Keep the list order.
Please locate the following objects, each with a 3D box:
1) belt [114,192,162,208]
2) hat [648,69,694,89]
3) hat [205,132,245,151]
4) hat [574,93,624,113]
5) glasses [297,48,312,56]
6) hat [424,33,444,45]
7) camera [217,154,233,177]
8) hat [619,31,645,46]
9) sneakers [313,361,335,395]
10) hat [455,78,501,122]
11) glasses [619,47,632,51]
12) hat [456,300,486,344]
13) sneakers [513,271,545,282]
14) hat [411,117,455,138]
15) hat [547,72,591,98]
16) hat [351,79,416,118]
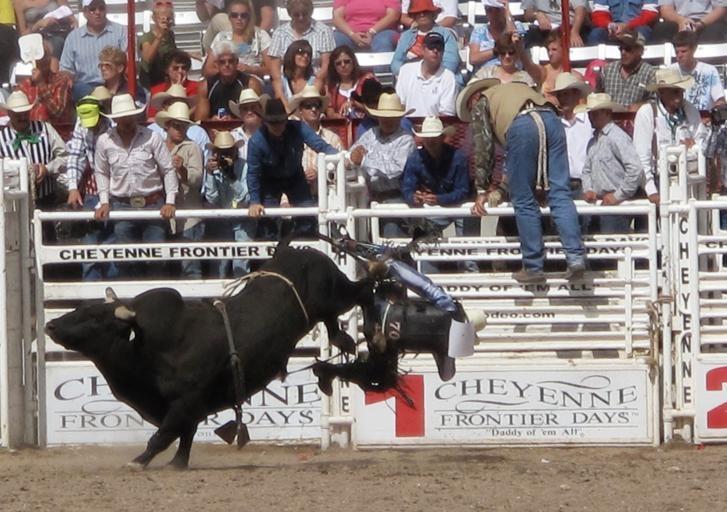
[{"bbox_3d":[-2.693,-0.648,23.940,0.619,0.188,0.127,-3,3,-7],"label":"belt"},{"bbox_3d":[3.657,-2.129,24.100,0.361,0.149,0.337,1,8,29],"label":"hat"},{"bbox_3d":[-1.649,-1.404,24.320,0.435,0.236,0.552,-3,3,-5],"label":"hat"},{"bbox_3d":[2.890,-1.830,23.968,0.388,0.139,0.343,2,-3,-39],"label":"hat"},{"bbox_3d":[-0.753,-2.640,25.755,0.206,0.093,0.058,-5,4,-42],"label":"glasses"},{"bbox_3d":[0.878,-2.799,25.529,0.267,0.154,0.247,-1,3,31],"label":"hat"},{"bbox_3d":[-1.659,-1.090,24.171,0.163,0.255,0.191,-8,18,-7],"label":"camera"},{"bbox_3d":[3.407,-2.731,25.251,0.295,0.109,0.196,6,11,-24],"label":"hat"},{"bbox_3d":[-0.423,1.383,22.144,0.261,0.348,0.088,1,13,34],"label":"sneakers"},{"bbox_3d":[1.334,-1.846,23.497,0.555,0.496,0.380,-2,3,11],"label":"hat"},{"bbox_3d":[3.281,-2.636,25.273,0.063,0.066,0.184,-4,3,-21],"label":"glasses"},{"bbox_3d":[1.210,0.779,22.369,0.322,0.409,0.441,-2,-4,35],"label":"hat"},{"bbox_3d":[1.881,0.251,22.880,0.358,0.156,0.130,4,24,11],"label":"sneakers"},{"bbox_3d":[0.851,-1.509,23.920,0.339,0.148,0.381,-2,-7,7],"label":"hat"},{"bbox_3d":[2.579,-2.118,24.441,0.581,0.268,0.336,-5,3,-35],"label":"hat"},{"bbox_3d":[0.168,-1.911,24.169,0.742,0.519,0.458,-2,3,21],"label":"hat"}]
